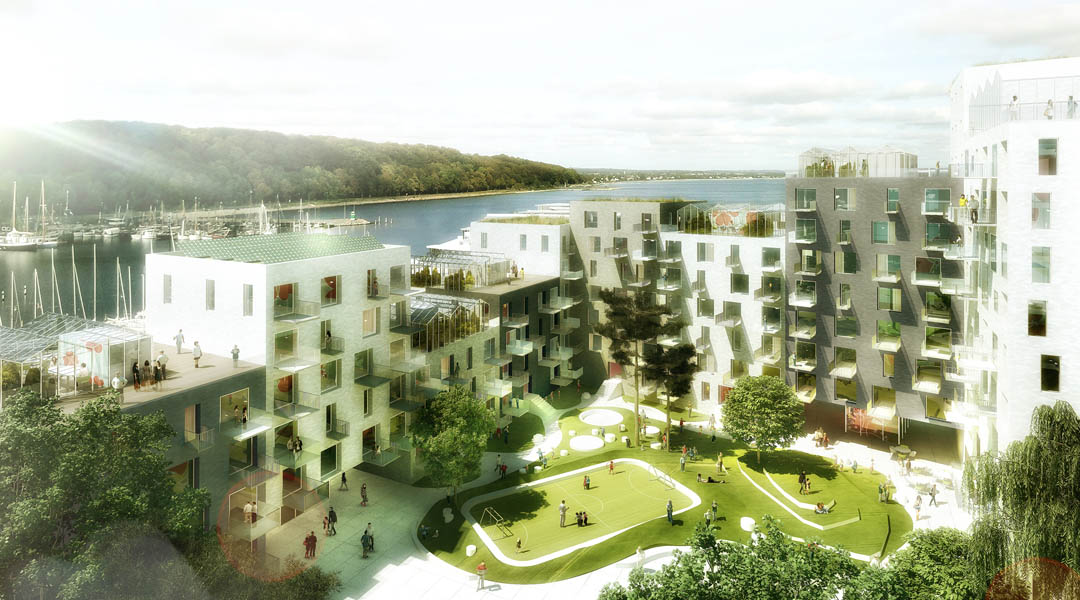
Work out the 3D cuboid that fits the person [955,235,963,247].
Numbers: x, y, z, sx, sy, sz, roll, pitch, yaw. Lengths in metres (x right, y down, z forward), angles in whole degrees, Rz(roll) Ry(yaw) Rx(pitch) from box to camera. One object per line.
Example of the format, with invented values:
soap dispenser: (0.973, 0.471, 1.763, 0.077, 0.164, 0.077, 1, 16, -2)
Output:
person: (47.896, -6.761, 88.950, 0.922, 1.101, 0.429, -1, -33, 32)
